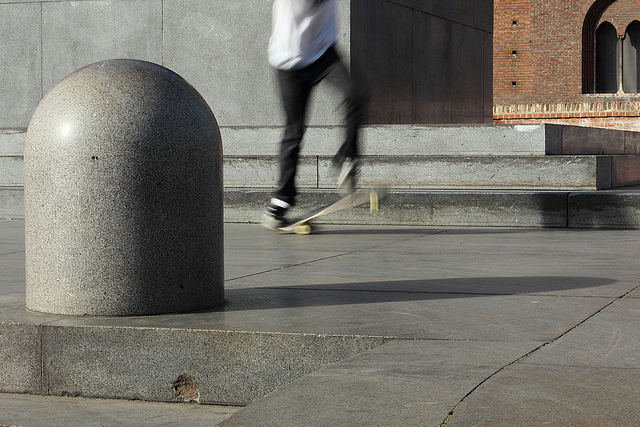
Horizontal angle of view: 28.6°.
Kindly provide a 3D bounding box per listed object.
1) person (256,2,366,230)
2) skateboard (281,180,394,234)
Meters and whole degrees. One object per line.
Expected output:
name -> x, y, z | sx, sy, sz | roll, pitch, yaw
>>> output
person -> -0.075, -0.820, 10.546 | 0.922, 1.916, 0.450 | 1, 1, 11
skateboard -> 0.146, -0.033, 11.125 | 0.862, 0.113, 0.206 | -21, -18, 12
